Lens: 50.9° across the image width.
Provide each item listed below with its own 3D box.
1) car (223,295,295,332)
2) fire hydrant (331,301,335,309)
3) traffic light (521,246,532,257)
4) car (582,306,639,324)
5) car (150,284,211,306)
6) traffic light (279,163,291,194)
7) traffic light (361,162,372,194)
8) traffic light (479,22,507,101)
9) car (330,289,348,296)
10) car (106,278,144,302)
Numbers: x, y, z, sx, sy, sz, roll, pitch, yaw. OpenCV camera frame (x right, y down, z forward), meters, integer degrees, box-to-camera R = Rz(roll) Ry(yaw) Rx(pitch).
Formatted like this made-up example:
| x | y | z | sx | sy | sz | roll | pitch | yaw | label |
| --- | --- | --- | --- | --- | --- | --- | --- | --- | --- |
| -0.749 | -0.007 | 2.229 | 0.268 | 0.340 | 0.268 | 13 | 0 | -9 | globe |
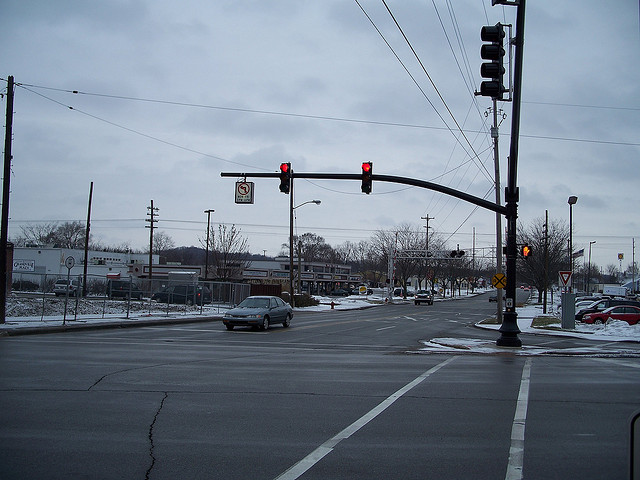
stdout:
| x | y | z | sx | sy | sz | roll | pitch | yaw | label |
| --- | --- | --- | --- | --- | --- | --- | --- | --- | --- |
| -2.839 | 3.414 | 32.132 | 1.380 | 1.166 | 3.290 | -4 | -13 | 19 | car |
| 1.143 | 5.963 | 61.190 | 0.459 | 0.566 | 0.162 | 0 | -2 | -5 | fire hydrant |
| 8.219 | 0.449 | 26.749 | 0.416 | 0.468 | 0.232 | 0 | -6 | 9 | traffic light |
| 16.126 | 4.123 | 36.954 | 2.185 | 0.835 | 1.070 | 1 | -8 | 17 | car |
| -9.839 | 3.778 | 46.693 | 3.604 | 1.470 | 2.119 | 3 | -4 | 7 | car |
| -1.257 | -2.188 | 23.919 | 0.403 | 1.151 | 1.006 | 3 | -5 | -3 | traffic light |
| 1.637 | -2.182 | 23.989 | 0.318 | 1.082 | 0.585 | -1 | -5 | 39 | traffic light |
| 5.008 | -5.159 | 19.482 | 0.683 | 2.068 | 0.577 | -2 | 9 | 1 | traffic light |
| 2.694 | 7.597 | 96.550 | 1.758 | 0.704 | 0.972 | -2 | -5 | 12 | car |
| -13.766 | 3.584 | 47.205 | 1.523 | 1.431 | 2.775 | 2 | 3 | 28 | car |
